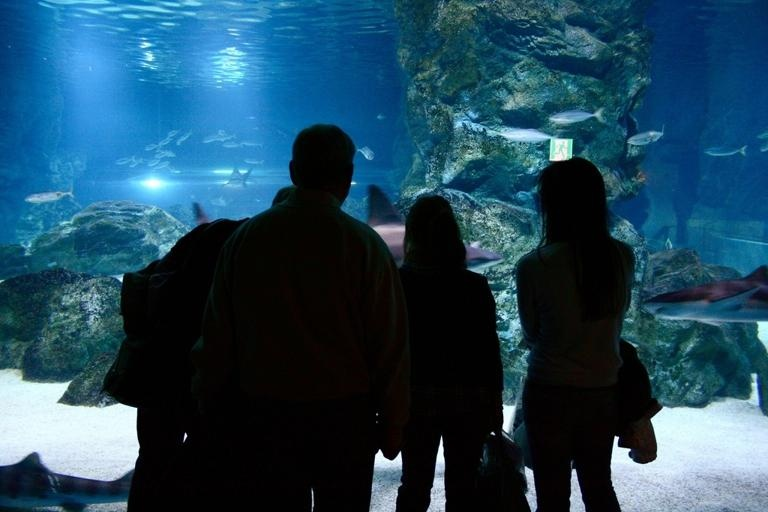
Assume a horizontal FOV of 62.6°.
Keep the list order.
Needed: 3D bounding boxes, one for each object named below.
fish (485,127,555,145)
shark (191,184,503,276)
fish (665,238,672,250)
[{"bbox_3d":[4.960,-4.319,23.098,2.329,0.494,0.405,11,23,15],"label":"fish"},{"bbox_3d":[-0.616,-0.721,18.791,8.714,3.141,2.758,15,2,0],"label":"shark"},{"bbox_3d":[13.677,-0.525,30.231,0.270,0.253,0.732,14,40,1],"label":"fish"}]
